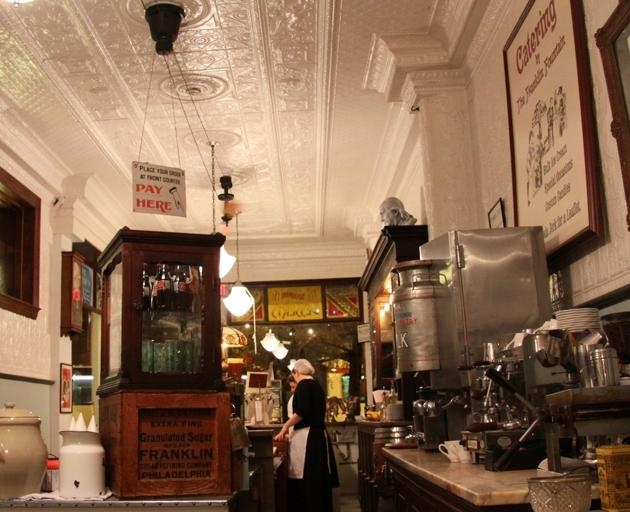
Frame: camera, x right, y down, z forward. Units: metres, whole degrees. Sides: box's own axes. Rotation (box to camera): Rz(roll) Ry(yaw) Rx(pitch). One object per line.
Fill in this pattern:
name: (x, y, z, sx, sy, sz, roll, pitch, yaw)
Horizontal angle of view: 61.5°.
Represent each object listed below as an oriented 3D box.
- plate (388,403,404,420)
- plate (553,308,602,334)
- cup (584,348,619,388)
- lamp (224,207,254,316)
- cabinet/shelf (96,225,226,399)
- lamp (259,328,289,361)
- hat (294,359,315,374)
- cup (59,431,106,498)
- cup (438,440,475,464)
plate: (0.833, 1.610, 5.464, 0.166, 0.171, 0.189, -6, -17, 6)
plate: (1.168, 0.319, 2.376, 0.176, 0.081, 0.173, 5, -14, -28)
cup: (0.951, 0.368, 1.745, 0.095, 0.104, 0.096, -3, -12, -1)
lamp: (-1.105, 0.069, 7.668, 0.451, 1.610, 0.439, 4, 8, 25)
cabinet/shelf: (-0.712, 0.305, 3.040, 0.859, 0.894, 0.799, 3, 1, -19)
lamp: (-0.818, 1.733, 10.552, 0.430, 0.582, 0.722, -9, -18, 14)
hat: (-0.162, 1.385, 6.716, 0.198, 0.144, 0.274, 1, 9, -26)
cup: (-1.150, 1.023, 2.614, 0.209, 0.319, 0.104, 1, -18, -18)
cup: (0.712, 0.965, 2.662, 0.138, 0.096, 0.200, 3, -12, -15)
